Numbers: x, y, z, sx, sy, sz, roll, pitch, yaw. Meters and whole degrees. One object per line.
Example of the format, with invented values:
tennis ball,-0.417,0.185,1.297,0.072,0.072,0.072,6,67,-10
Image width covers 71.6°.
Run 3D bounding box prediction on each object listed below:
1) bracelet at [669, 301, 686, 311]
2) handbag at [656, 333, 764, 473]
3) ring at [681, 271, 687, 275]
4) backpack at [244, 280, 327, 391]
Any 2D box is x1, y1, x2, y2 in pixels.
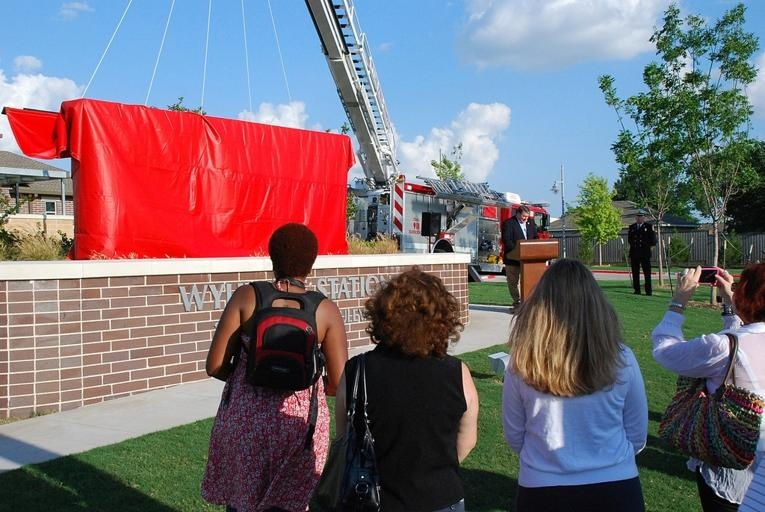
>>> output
bracelet,1.925,0.335,3.464,0.072,0.030,0.072,8,-3,-29
handbag,2.095,0.913,3.384,0.544,0.828,0.261,4,7,39
ring,2.131,0.128,3.752,0.017,0.010,0.066,17,-14,-1
backpack,-0.581,0.484,3.197,0.451,0.617,0.251,0,5,-2
